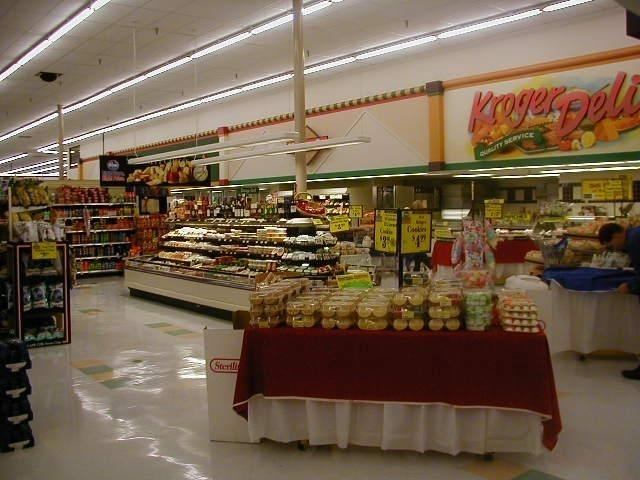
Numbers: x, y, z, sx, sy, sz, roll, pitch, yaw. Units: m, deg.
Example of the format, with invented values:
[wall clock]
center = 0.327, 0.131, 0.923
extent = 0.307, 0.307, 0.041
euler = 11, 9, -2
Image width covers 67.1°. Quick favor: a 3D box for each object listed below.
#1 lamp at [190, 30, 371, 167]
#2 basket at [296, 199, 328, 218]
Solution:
[lamp]
center = -0.875, -3.592, 11.996
extent = 4.344, 1.964, 1.097
euler = -3, -3, 35
[basket]
center = -0.126, -0.439, 6.748
extent = 0.361, 0.100, 0.267
euler = 16, 38, 1
